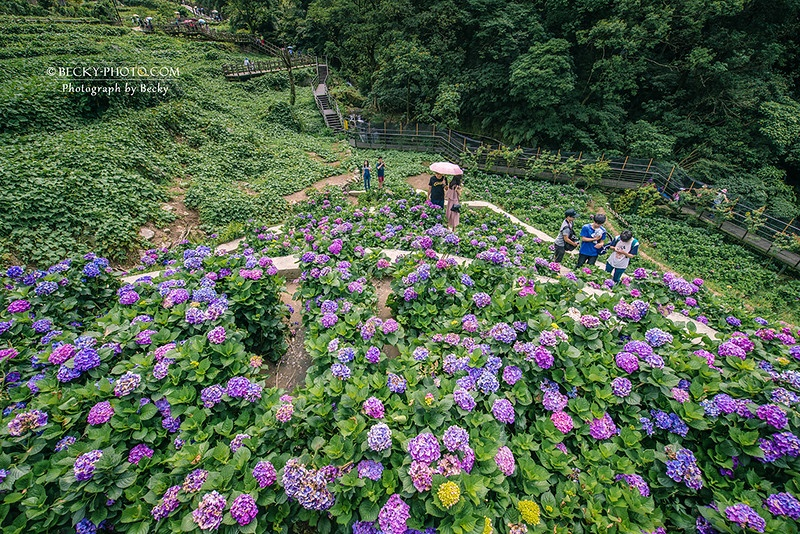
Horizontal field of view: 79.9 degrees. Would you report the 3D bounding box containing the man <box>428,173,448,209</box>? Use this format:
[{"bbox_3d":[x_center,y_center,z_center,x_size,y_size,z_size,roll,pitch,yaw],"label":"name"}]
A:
[{"bbox_3d":[1.152,-2.173,14.353,0.569,1.725,0.402,-4,38,-6],"label":"man"}]

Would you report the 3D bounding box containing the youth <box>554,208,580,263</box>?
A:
[{"bbox_3d":[4.972,-0.879,14.171,0.599,1.784,0.648,-7,58,8],"label":"youth"}]

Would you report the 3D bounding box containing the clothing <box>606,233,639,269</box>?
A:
[{"bbox_3d":[5.875,-0.368,12.588,0.689,0.911,0.441,23,5,30],"label":"clothing"}]
